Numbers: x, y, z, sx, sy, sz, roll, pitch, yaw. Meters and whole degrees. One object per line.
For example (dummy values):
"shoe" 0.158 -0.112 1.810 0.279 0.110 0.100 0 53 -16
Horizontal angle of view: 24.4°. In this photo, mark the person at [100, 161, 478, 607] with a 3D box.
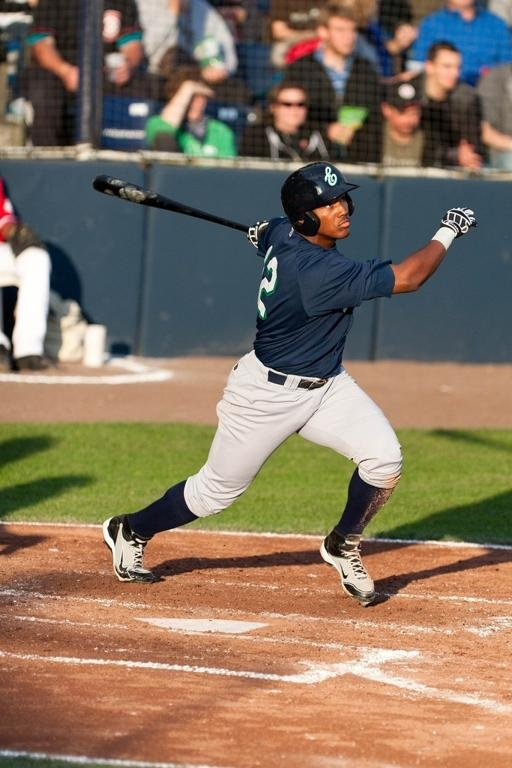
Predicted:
"person" 0.091 0.071 3.968 1.055 1.343 0.481 5 9 20

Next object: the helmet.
"helmet" 0.168 -0.617 3.886 0.281 0.205 0.237 6 22 24

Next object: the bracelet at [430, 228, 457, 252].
"bracelet" 0.602 -0.467 3.832 0.070 0.041 0.103 32 13 -8

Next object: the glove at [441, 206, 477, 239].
"glove" 0.660 -0.533 3.929 0.114 0.054 0.140 24 26 9
